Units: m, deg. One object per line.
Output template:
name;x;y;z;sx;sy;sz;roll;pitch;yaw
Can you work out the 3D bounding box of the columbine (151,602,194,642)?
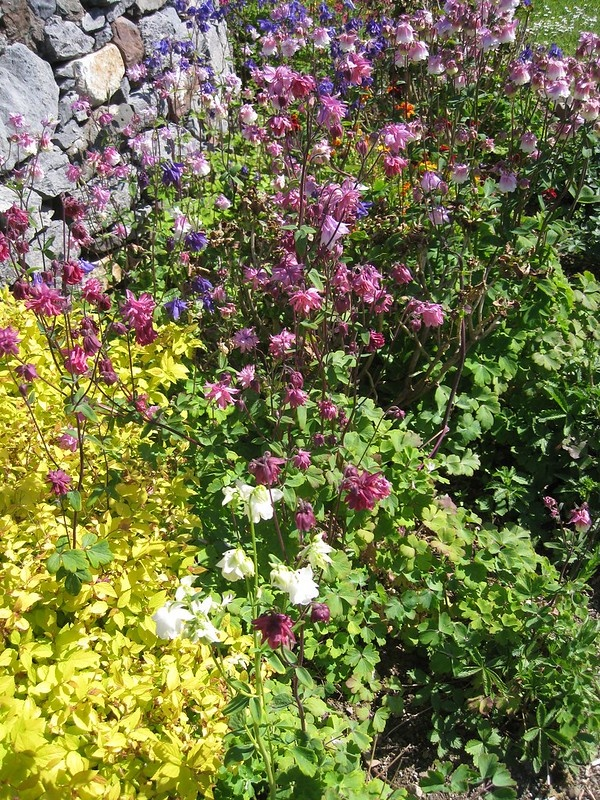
columbine;-0.294;0.512;1.715;0.085;0.106;0.080;-8;45;-19
